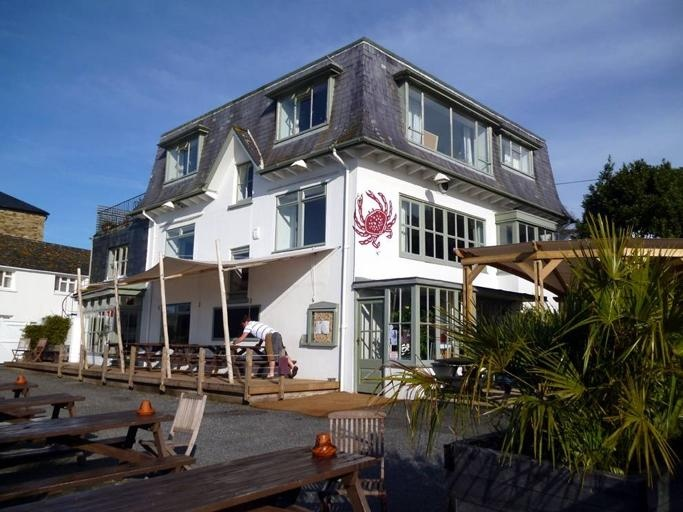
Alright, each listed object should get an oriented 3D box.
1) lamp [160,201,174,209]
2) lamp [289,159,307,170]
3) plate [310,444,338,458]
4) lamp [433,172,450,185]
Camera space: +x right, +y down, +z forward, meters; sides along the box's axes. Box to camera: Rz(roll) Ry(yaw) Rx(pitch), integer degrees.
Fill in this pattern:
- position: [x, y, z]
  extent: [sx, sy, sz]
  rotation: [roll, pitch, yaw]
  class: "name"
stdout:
- position: [-7.140, -2.104, 21.799]
  extent: [0.790, 0.168, 0.449]
  rotation: [-9, -15, 43]
  class: "lamp"
- position: [-1.324, -2.888, 16.655]
  extent: [0.506, 0.176, 0.725]
  rotation: [5, -12, -18]
  class: "lamp"
- position: [-0.166, 1.913, 5.153]
  extent: [0.248, 0.116, 0.237]
  rotation: [1, -11, 0]
  class: "plate"
- position: [3.248, -2.519, 17.001]
  extent: [0.346, 0.198, 0.410]
  rotation: [-2, -4, 26]
  class: "lamp"
